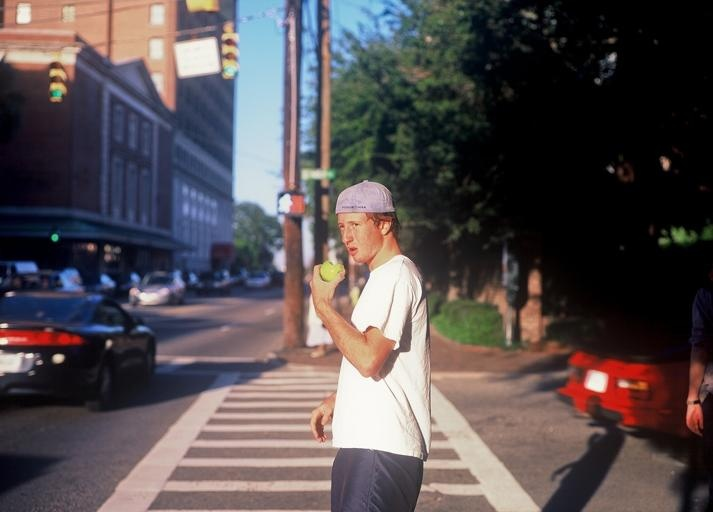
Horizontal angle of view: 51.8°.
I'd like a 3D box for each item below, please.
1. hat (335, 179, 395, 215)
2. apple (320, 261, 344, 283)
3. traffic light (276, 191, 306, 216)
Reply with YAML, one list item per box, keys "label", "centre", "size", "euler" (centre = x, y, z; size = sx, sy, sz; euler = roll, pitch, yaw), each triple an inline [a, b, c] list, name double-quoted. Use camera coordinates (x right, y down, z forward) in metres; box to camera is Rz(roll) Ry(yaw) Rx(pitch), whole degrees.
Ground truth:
- label: "hat"
  centre: [0.074, -0.492, 6.275]
  size: [0.301, 0.233, 0.333]
  euler: [1, 8, 5]
- label: "apple"
  centre: [-0.217, 0.142, 6.240]
  size: [0.139, 0.162, 0.116]
  euler: [7, 7, 2]
- label: "traffic light"
  centre: [-1.602, -1.268, 17.839]
  size: [0.641, 0.609, 0.390]
  euler: [0, 4, -14]
